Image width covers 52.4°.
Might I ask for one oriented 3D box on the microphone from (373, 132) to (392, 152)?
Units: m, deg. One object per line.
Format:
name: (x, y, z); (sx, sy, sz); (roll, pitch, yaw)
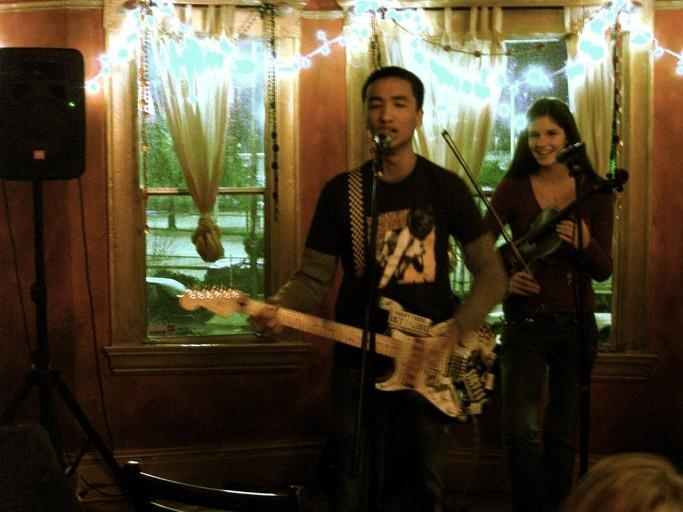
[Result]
microphone: (0.160, -0.458, 2.773); (0.064, 0.079, 0.073); (0, 7, 0)

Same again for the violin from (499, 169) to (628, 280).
violin: (1.022, -0.167, 3.285); (0.111, 0.307, 0.764); (21, -39, -12)

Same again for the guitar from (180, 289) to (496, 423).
guitar: (-0.141, 0.289, 3.391); (1.301, 0.687, 1.069); (-2, 9, -36)

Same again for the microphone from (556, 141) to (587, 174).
microphone: (1.035, -0.454, 3.070); (0.086, 0.136, 0.332); (-27, 1, 29)
